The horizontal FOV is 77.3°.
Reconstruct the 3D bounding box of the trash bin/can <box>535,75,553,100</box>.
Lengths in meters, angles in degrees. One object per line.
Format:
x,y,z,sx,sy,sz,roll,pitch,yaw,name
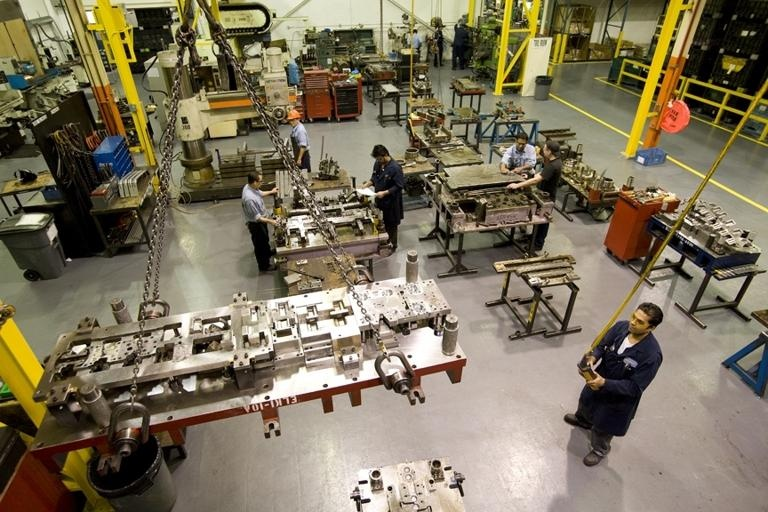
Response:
4.928,-5.272,14.976,0.455,0.675,0.435,8,32,15,trash bin/can

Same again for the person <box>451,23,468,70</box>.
2.853,-7.817,17.795,0.548,1.654,0.636,3,31,7,person

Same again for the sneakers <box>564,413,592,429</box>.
2.660,2.254,6.563,0.267,0.195,0.091,32,69,24,sneakers

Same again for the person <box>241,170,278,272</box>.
-2.101,-0.627,8.319,0.573,1.787,1.105,-10,32,-14,person

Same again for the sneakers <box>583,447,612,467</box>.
2.755,2.639,6.300,0.394,0.162,0.158,-22,51,-2,sneakers

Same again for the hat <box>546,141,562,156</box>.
3.000,-1.923,8.574,0.266,0.280,0.253,9,33,15,hat

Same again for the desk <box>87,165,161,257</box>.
-4.917,-0.888,9.256,1.013,1.236,1.311,-6,32,-9,desk

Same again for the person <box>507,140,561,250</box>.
2.795,-1.100,8.780,0.665,1.891,1.295,17,36,27,person

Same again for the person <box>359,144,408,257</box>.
0.042,-0.996,8.599,0.695,1.937,0.809,-14,33,-20,person

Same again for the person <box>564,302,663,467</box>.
2.840,1.599,6.055,1.068,2.194,0.744,-23,37,-32,person

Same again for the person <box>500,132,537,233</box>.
2.596,-1.865,9.204,0.652,1.527,0.944,5,48,13,person
